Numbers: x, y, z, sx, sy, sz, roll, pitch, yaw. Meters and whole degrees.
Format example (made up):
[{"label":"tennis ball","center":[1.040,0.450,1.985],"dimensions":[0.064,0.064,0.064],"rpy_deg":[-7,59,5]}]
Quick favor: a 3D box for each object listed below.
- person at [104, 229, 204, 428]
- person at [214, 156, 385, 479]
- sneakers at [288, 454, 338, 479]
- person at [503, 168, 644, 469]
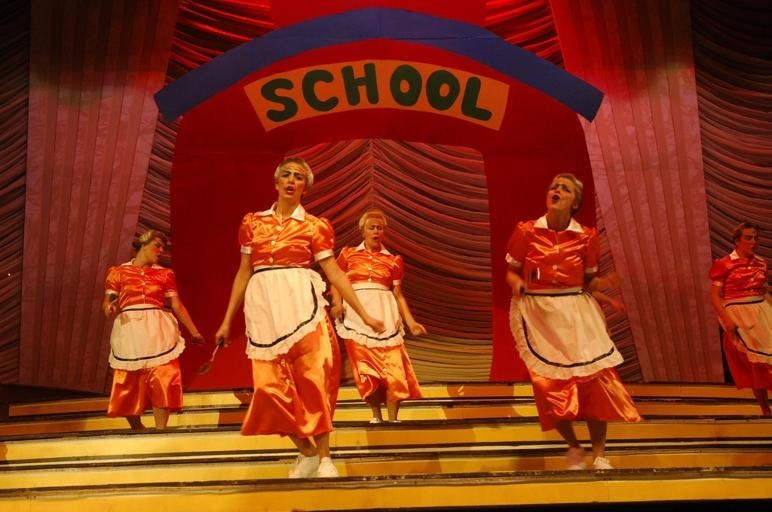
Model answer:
[{"label":"person","center":[-2.585,0.781,7.725],"dimensions":[0.895,2.094,0.498],"rpy_deg":[1,-19,-15]},{"label":"person","center":[-0.804,0.496,6.036],"dimensions":[1.027,2.662,0.756],"rpy_deg":[0,-18,-11]},{"label":"sneakers","center":[-0.600,1.720,5.834],"dimensions":[0.437,0.185,0.230],"rpy_deg":[-5,-18,4]},{"label":"person","center":[1.563,0.568,6.253],"dimensions":[0.928,2.525,0.648],"rpy_deg":[-9,-19,16]}]
